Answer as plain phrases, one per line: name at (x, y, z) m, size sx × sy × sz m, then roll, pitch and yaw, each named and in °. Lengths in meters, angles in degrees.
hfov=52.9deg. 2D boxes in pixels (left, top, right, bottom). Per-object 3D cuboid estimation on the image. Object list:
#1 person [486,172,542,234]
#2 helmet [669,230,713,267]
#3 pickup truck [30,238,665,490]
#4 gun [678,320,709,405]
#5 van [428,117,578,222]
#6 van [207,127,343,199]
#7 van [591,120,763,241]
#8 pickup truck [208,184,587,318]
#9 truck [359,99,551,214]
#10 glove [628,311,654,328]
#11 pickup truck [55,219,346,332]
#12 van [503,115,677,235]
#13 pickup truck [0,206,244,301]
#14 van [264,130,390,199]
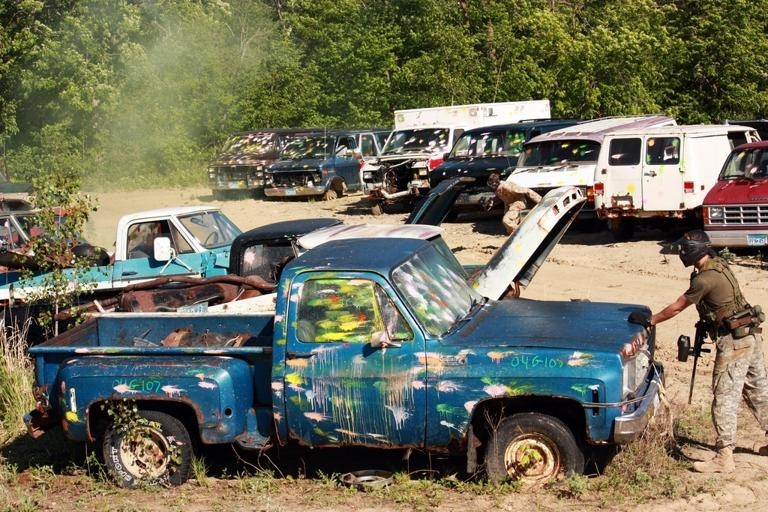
person at (2.609, -1.133, 15.526) m, size 0.661 × 0.951 × 1.491 m, roll -7°, pitch 22°, yaw -17°
helmet at (3.342, -0.085, 8.534) m, size 0.463 × 0.377 × 0.361 m, roll 9°, pitch 6°, yaw 35°
pickup truck at (-0.468, 1.118, 8.938) m, size 5.977 × 2.054 × 3.103 m, roll -1°, pitch 11°, yaw 10°
gun at (3.863, 1.388, 9.627) m, size 0.303 × 1.126 × 0.447 m, roll 1°, pitch -9°, yaw 5°
van at (3.035, -2.328, 20.719) m, size 2.283 × 1.901 × 4.369 m, roll 2°, pitch 11°, yaw 40°
van at (-4.657, -3.143, 26.744) m, size 2.358 × 1.771 × 4.036 m, roll 0°, pitch 5°, yaw 22°
van at (6.511, -1.981, 17.097) m, size 1.834 × 1.561 × 3.076 m, roll 5°, pitch 20°, yaw 38°
pickup truck at (1.259, 0.099, 10.288) m, size 2.733 × 0.934 × 1.587 m, roll -14°, pitch 9°, yaw 45°
truck at (1.768, -3.030, 23.342) m, size 5.814 × 2.659 × 3.238 m, roll -7°, pitch 7°, yaw -44°
glove at (2.758, 0.666, 8.350) m, size 0.180 × 0.102 × 0.237 m, roll 27°, pitch -11°, yaw -41°
pickup truck at (-2.387, 0.615, 11.310) m, size 2.716 × 0.974 × 1.771 m, roll -10°, pitch 6°, yaw 12°
van at (4.617, -1.958, 18.484) m, size 2.133 × 1.832 × 4.210 m, roll -3°, pitch 12°, yaw 40°
pickup truck at (-4.341, 0.376, 13.226) m, size 3.248 × 1.425 × 2.065 m, roll -4°, pitch 12°, yaw 1°
van at (-1.908, -3.023, 25.716) m, size 1.988 × 1.374 × 3.562 m, roll -1°, pitch 7°, yaw 30°
